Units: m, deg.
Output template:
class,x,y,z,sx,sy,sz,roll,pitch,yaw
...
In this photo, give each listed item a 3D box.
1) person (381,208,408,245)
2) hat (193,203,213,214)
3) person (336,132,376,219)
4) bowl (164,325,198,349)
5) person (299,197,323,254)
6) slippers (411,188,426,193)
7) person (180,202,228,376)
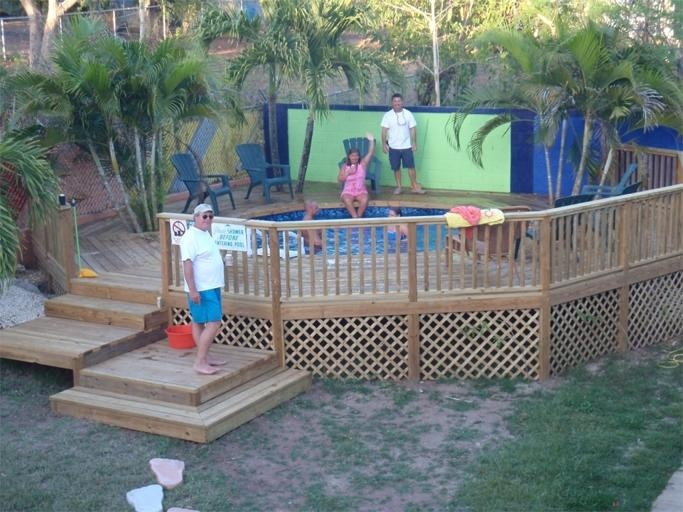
class,x,y,z,sx,sy,sz,roll,pitch,yaw
person,0.866,-0.476,13.568,0.287,0.738,0.628,-8,17,-11
hat,-1.811,-0.619,10.628,0.165,0.091,0.256,-2,7,-24
person,0.263,-1.591,16.698,0.731,1.717,1.511,4,27,2
bowl,-2.247,1.119,11.500,0.354,0.184,0.369,0,14,0
person,-0.510,-0.489,13.883,0.268,0.565,0.935,-13,34,-10
slippers,1.749,-1.450,18.385,0.244,0.104,0.133,7,24,34
person,-1.792,0.411,10.710,0.519,2.151,0.649,-2,12,-9
